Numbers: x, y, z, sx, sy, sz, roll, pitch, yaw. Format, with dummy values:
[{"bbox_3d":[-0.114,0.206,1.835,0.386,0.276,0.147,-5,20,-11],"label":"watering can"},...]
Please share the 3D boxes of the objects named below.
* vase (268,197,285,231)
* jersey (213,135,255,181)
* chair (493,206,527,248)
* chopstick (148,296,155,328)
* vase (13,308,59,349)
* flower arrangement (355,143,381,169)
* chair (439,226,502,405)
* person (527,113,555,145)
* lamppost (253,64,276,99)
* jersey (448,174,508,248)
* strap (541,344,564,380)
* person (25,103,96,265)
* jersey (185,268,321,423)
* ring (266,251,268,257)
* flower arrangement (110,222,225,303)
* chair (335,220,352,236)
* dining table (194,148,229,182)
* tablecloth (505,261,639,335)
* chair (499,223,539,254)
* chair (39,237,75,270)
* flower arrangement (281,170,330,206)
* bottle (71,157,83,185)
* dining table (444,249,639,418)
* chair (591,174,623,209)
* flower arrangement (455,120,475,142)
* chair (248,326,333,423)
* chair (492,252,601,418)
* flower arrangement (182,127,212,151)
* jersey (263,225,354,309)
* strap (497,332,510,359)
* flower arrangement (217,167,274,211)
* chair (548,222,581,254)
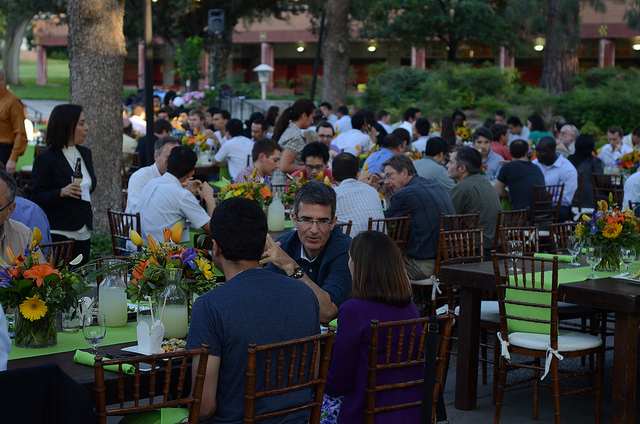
[{"bbox_3d":[-0.469,0.028,8.396,0.218,0.377,0.238,1,-11,-10],"label":"vase"},{"bbox_3d":[-1.325,-0.780,12.314,0.358,0.872,0.705,19,32,33],"label":"jersey"},{"bbox_3d":[1.995,0.175,8.201,0.268,0.502,0.314,1,31,8],"label":"chair"},{"bbox_3d":[-1.197,0.723,5.507,0.017,0.205,0.015,-7,-9,-8],"label":"chopstick"},{"bbox_3d":[-2.034,0.821,5.599,0.253,0.343,0.273,1,-2,-14],"label":"vase"},{"bbox_3d":[0.722,-0.880,11.878,0.348,0.439,0.365,3,9,15],"label":"flower arrangement"},{"bbox_3d":[1.501,0.955,7.449,0.586,1.544,0.536,4,0,-23],"label":"chair"},{"bbox_3d":[4.012,-1.441,14.179,0.499,0.803,0.566,-1,17,20],"label":"person"},{"bbox_3d":[-1.821,-4.144,25.098,0.612,1.246,0.656,0,8,-3],"label":"lamppost"},{"bbox_3d":[1.837,-0.159,8.946,0.582,0.664,0.366,-16,38,-8],"label":"jersey"},{"bbox_3d":[1.973,1.277,6.595,0.171,0.298,0.274,-3,-2,16],"label":"strap"},{"bbox_3d":[-2.646,-0.309,8.082,0.639,1.554,0.525,-1,-2,-34],"label":"person"},{"bbox_3d":[-0.420,0.905,5.007,0.850,0.970,0.465,1,2,-25],"label":"jersey"},{"bbox_3d":[-0.388,0.309,5.718,0.025,0.042,0.011,1,-2,40],"label":"ring"},{"bbox_3d":[-1.226,0.407,5.683,0.552,0.538,0.585,14,-8,-41],"label":"flower arrangement"},{"bbox_3d":[0.232,0.159,7.651,0.137,0.205,0.129,-2,26,-7],"label":"chair"},{"bbox_3d":[-1.686,-0.730,12.091,0.413,0.331,0.663,2,14,-1],"label":"dining table"},{"bbox_3d":[2.143,0.802,6.911,1.184,0.570,0.572,-1,-3,-36],"label":"tablecloth"},{"bbox_3d":[2.034,0.292,7.798,0.319,0.285,0.965,-4,-3,27],"label":"chair"},{"bbox_3d":[-2.167,0.352,6.383,0.213,0.352,0.215,-7,29,-31],"label":"chair"},{"bbox_3d":[-0.166,-0.278,8.427,0.382,0.327,0.403,-2,4,28],"label":"flower arrangement"},{"bbox_3d":[-2.515,-0.423,8.043,0.114,0.305,0.306,-1,-3,-18],"label":"bottle"},{"bbox_3d":[2.045,0.931,6.850,1.441,1.234,1.364,-4,5,-37],"label":"dining table"},{"bbox_3d":[3.872,-0.284,10.447,0.283,0.576,0.356,8,33,23],"label":"chair"},{"bbox_3d":[2.480,-1.315,13.359,0.301,0.300,0.467,-3,-3,8],"label":"flower arrangement"},{"bbox_3d":[-0.212,1.053,5.029,0.400,0.775,0.437,-6,21,-24],"label":"chair"},{"bbox_3d":[2.055,1.081,7.043,0.922,1.487,1.566,-3,-2,23],"label":"chair"},{"bbox_3d":[-2.084,-1.199,12.838,0.377,0.404,0.398,5,11,31],"label":"flower arrangement"},{"bbox_3d":[-0.060,0.422,6.126,0.493,0.739,0.663,-2,5,19],"label":"jersey"},{"bbox_3d":[1.604,1.169,6.736,0.080,0.211,0.131,-3,-2,15],"label":"strap"},{"bbox_3d":[-0.755,-0.190,8.101,0.570,0.281,0.499,-2,-3,-12],"label":"flower arrangement"},{"bbox_3d":[2.421,0.261,7.663,0.213,0.409,0.233,6,21,35],"label":"chair"}]
